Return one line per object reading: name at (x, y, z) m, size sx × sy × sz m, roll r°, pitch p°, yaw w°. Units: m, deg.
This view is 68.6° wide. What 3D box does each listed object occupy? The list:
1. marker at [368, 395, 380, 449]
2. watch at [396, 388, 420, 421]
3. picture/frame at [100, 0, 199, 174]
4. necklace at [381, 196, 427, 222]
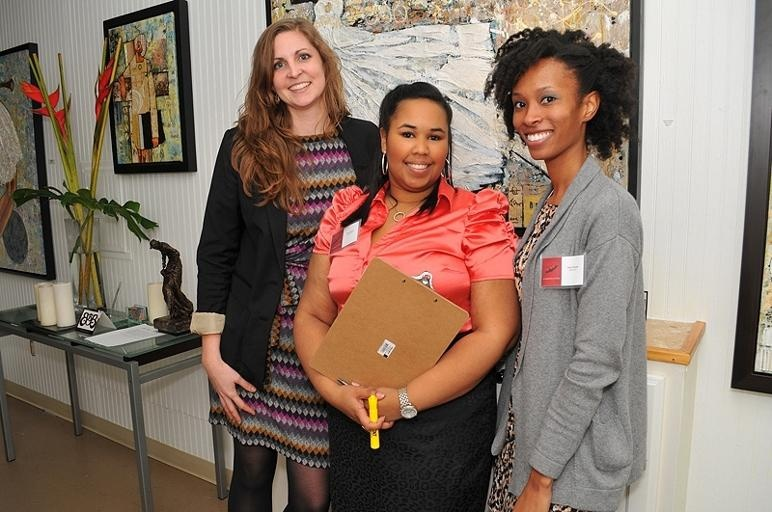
marker at (-0.046, 0.622, 2.166) m, size 0.043 × 0.200 × 0.052 m, roll -2°, pitch -8°, yaw 3°
watch at (0.076, 0.558, 2.130) m, size 0.064 × 0.114 × 0.108 m, roll -15°, pitch 13°, yaw -6°
picture/frame at (-1.508, -1.112, 3.659) m, size 1.055 × 1.371 × 0.130 m, roll 2°, pitch 9°, yaw 41°
necklace at (0.060, -0.183, 2.329) m, size 0.121 × 0.094 × 0.030 m, roll -31°, pitch -21°, yaw 11°
